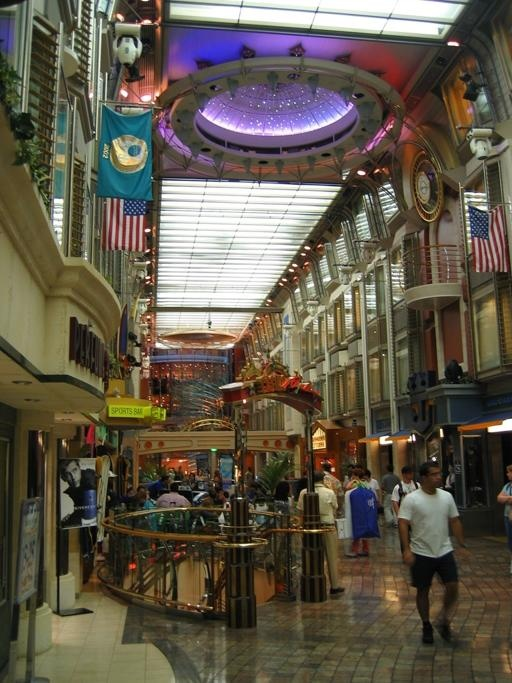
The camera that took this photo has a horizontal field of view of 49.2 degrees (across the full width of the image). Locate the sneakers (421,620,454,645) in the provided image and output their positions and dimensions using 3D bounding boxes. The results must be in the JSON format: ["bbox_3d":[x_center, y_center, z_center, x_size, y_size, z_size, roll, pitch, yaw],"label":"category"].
[{"bbox_3d":[1.647,2.687,5.160,0.147,0.172,0.413,1,-22,-3],"label":"sneakers"}]

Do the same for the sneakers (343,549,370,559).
[{"bbox_3d":[2.073,4.460,11.668,0.555,0.191,0.185,3,-8,-3],"label":"sneakers"}]

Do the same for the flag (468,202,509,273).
[{"bbox_3d":[5.753,-2.593,13.917,0.993,1.612,0.630,-2,-16,-5],"label":"flag"}]

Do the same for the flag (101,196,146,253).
[{"bbox_3d":[-2.160,-1.903,9.072,0.689,1.013,0.432,0,-16,-13],"label":"flag"}]

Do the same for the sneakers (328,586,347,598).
[{"bbox_3d":[1.120,3.483,7.800,0.087,0.094,0.232,0,-4,27],"label":"sneakers"}]

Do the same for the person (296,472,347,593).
[{"bbox_3d":[0.944,2.789,8.208,0.522,1.657,1.234,-6,-16,6],"label":"person"}]

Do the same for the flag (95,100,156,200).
[{"bbox_3d":[-1.897,-2.757,8.062,0.755,1.746,0.418,0,-16,-12],"label":"flag"}]

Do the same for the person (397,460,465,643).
[{"bbox_3d":[1.612,1.933,5.181,0.695,1.581,0.512,-2,-16,-7],"label":"person"}]
